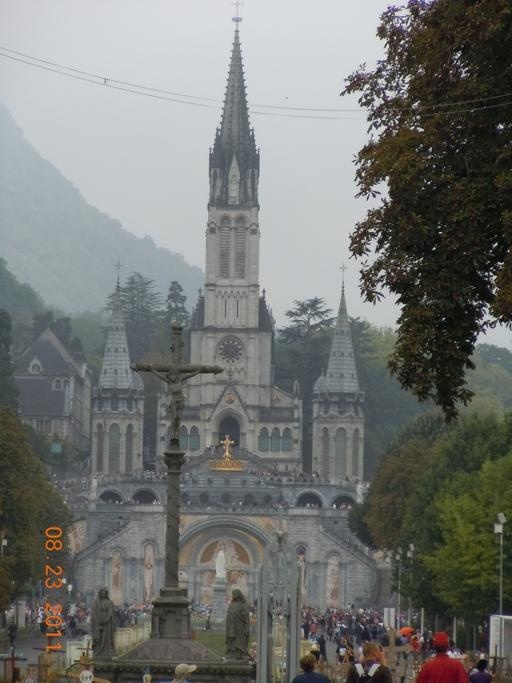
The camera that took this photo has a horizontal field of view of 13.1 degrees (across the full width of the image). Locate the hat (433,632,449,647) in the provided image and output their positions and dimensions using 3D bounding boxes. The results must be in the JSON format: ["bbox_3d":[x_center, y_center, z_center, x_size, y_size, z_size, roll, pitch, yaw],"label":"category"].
[{"bbox_3d":[3.373,5.351,40.817,0.278,0.356,0.700,3,-12,5],"label":"hat"}]
